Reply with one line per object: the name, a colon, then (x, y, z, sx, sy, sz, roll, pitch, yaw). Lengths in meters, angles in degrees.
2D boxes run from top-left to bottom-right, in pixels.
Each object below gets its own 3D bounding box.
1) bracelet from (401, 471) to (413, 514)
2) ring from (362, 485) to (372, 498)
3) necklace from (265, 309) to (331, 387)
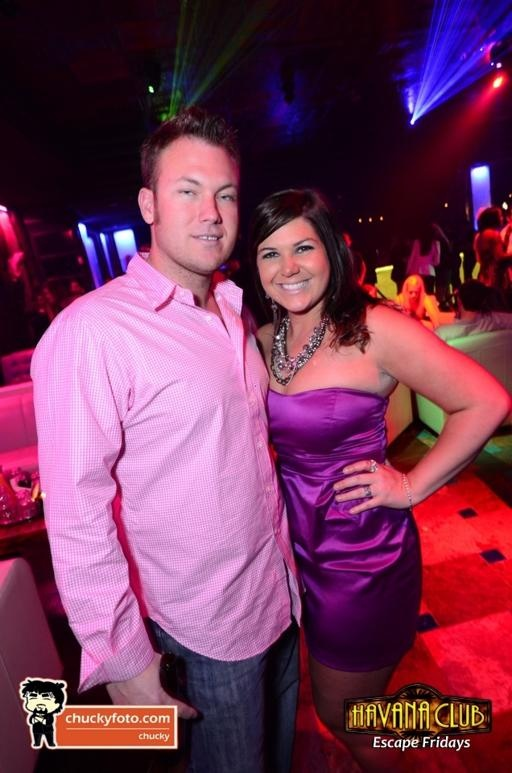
bracelet: (0.426, 0.299, 1.531, 0.018, 0.076, 0.066, -17, -6, 8)
ring: (0.306, 0.283, 1.503, 0.029, 0.028, 0.027, -7, 15, 2)
necklace: (0.131, -0.124, 1.705, 0.157, 0.222, 0.052, 2, -26, 42)
